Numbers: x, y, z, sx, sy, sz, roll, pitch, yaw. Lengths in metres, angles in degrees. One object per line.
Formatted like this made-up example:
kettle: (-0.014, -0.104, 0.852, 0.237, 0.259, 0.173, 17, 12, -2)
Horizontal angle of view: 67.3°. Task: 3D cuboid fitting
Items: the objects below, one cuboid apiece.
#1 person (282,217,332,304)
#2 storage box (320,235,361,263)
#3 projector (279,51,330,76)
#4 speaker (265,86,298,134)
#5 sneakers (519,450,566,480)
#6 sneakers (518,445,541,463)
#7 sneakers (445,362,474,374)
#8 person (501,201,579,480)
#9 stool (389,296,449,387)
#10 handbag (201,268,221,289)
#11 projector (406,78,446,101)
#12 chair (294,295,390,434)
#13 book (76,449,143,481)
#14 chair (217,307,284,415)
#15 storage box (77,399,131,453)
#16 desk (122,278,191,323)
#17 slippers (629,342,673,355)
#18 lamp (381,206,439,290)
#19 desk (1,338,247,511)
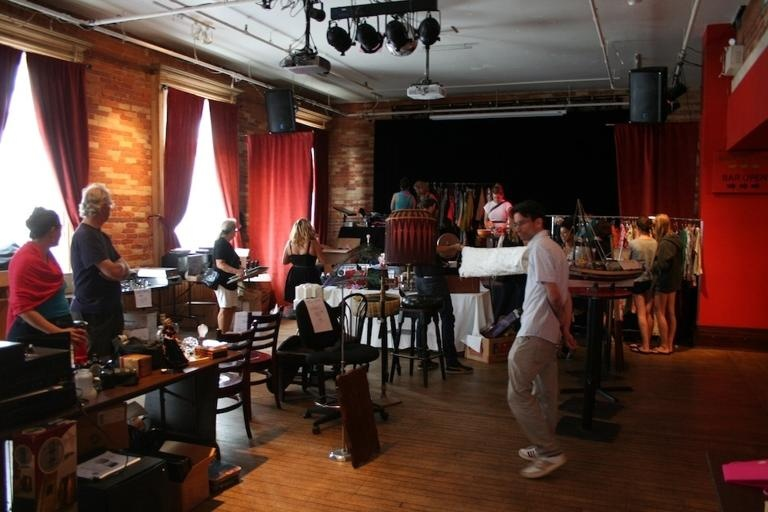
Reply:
person: (-1.192, 0.259, 8.761, 0.597, 1.624, 0.546, 2, 16, 5)
storage box: (-0.748, -0.108, 10.743, 0.595, 0.353, 0.554, 0, 1, 30)
projector: (-1.075, -2.549, 7.693, 0.505, 0.143, 0.370, 2, 3, 26)
speaker: (-1.971, -2.764, 10.969, 0.619, 0.791, 0.230, 7, 16, 27)
sneakers: (1.411, 1.938, 5.416, 0.556, 0.213, 0.194, -12, 2, 15)
sneakers: (1.398, 1.899, 5.553, 0.251, 0.094, 0.097, 2, 45, 12)
sneakers: (1.003, 1.505, 7.817, 0.347, 0.144, 0.136, -3, -2, 8)
person: (1.444, 0.772, 5.337, 0.624, 2.473, 0.689, 3, 14, 12)
stool: (0.429, 1.086, 7.608, 1.052, 1.061, 1.027, 5, -3, -23)
handbag: (-2.514, 0.321, 8.394, 0.172, 0.295, 0.280, -10, 17, -35)
projector: (0.735, -2.715, 9.338, 0.470, 0.230, 0.599, 2, 0, 14)
chair: (-0.485, 1.085, 6.478, 1.056, 1.489, 1.022, -5, -2, 38)
book: (-2.207, 1.643, 4.563, 0.310, 0.046, 0.436, 13, 18, 42)
chair: (-1.402, 1.102, 6.860, 0.997, 1.557, 0.878, 2, 0, -5)
storage box: (-2.326, 1.426, 4.824, 0.422, 0.384, 0.418, -3, -1, 23)
desk: (-3.521, 0.674, 8.824, 0.883, 0.411, 0.469, 4, 8, 20)
slippers: (4.059, 1.408, 8.730, 0.488, 0.124, 0.248, 0, 0, 18)
lamp: (0.246, -0.155, 5.104, 0.477, 0.479, 0.464, 0, -1, -23)
desk: (-2.153, 0.959, 4.825, 0.957, 0.884, 1.841, 4, 5, 22)
